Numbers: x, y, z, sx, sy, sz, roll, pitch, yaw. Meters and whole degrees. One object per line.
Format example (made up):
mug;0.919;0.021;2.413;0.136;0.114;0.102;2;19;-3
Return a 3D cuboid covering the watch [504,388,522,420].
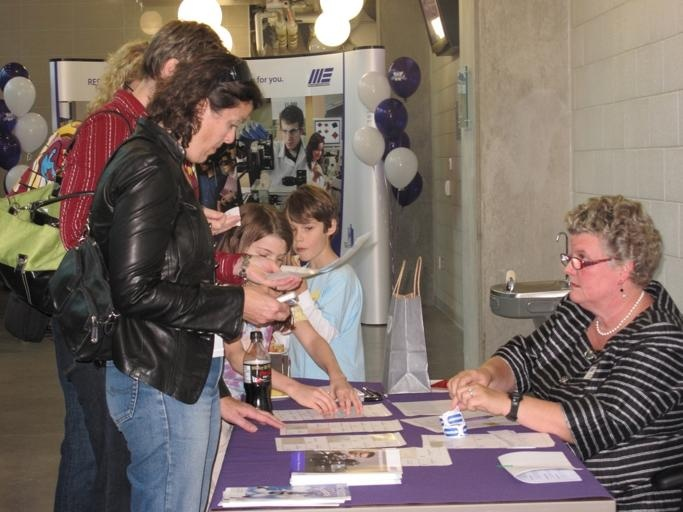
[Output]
watch;0.550;0.468;1.895;0.048;0.083;0.078;8;18;15

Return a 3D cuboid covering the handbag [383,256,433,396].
handbag;0.273;0.271;2.437;0.182;0.562;0.468;0;8;7

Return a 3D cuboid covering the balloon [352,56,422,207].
balloon;0.475;-1.211;5.941;0.679;1.446;0.692;0;8;6

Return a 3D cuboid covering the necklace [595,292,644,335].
necklace;0.979;0.225;2.109;0.012;0.167;0.131;19;32;-17

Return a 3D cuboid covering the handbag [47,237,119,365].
handbag;-0.684;0.099;1.620;0.312;0.304;0.139;24;17;40

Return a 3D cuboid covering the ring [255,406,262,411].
ring;-0.279;0.512;1.979;0.010;0.010;0.011;2;-1;0

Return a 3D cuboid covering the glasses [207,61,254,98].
glasses;-0.296;-0.472;1.653;0.113;0.088;0.099;-10;7;33

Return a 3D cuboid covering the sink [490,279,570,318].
sink;1.171;0.263;3.566;0.353;0.089;0.257;-1;4;-22

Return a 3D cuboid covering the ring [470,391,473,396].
ring;0.423;0.444;1.906;0.011;0.011;0.003;-2;-6;21
